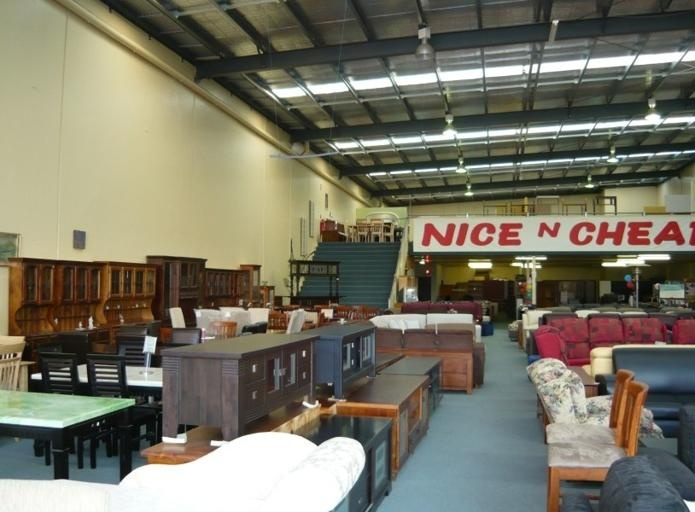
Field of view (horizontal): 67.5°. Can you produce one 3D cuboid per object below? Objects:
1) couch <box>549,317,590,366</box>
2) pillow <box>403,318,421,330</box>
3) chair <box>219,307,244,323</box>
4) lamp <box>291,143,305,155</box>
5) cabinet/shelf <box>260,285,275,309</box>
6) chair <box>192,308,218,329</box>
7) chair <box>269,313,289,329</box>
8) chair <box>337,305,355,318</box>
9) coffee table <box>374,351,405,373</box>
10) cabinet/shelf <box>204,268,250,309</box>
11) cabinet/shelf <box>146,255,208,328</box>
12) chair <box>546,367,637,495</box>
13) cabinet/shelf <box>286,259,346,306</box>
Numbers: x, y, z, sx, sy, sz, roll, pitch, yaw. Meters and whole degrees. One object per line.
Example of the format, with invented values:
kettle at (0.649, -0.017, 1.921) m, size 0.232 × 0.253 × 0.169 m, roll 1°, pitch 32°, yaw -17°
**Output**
couch at (4.066, 1.527, 9.510) m, size 0.967 × 0.890 × 0.756 m, roll 0°, pitch -3°, yaw 2°
pillow at (1.300, 1.330, 10.460) m, size 0.249 × 0.070 × 0.255 m, roll 19°, pitch 19°, yaw 14°
chair at (-2.214, 1.029, 10.081) m, size 0.299 × 0.300 × 0.510 m, roll -4°, pitch -3°, yaw 25°
lamp at (-1.738, -3.805, 18.222) m, size 0.205 × 0.432 × 0.662 m, roll 14°, pitch 7°, yaw 24°
cabinet/shelf at (-2.382, 1.166, 15.319) m, size 0.298 × 0.647 × 0.743 m, roll -2°, pitch -2°, yaw 14°
chair at (-2.622, 1.118, 9.857) m, size 0.462 × 0.449 × 0.438 m, roll -1°, pitch 0°, yaw 21°
chair at (-1.235, 1.159, 9.505) m, size 0.301 × 0.423 × 0.325 m, roll 1°, pitch -5°, yaw 3°
chair at (-0.062, 1.325, 12.634) m, size 0.452 × 0.291 × 0.258 m, roll 3°, pitch 5°, yaw 43°
coffee table at (0.571, 1.440, 7.139) m, size 0.244 × 0.108 × 0.515 m, roll 0°, pitch 2°, yaw 15°
cabinet/shelf at (-3.027, 0.738, 13.297) m, size 0.376 × 0.995 × 2.213 m, roll 14°, pitch 7°, yaw 16°
cabinet/shelf at (-3.672, 0.733, 11.024) m, size 0.570 × 1.437 × 1.668 m, roll -3°, pitch -4°, yaw 18°
chair at (2.199, 1.595, 4.747) m, size 0.827 × 0.945 × 1.358 m, roll 0°, pitch -3°, yaw 19°
cabinet/shelf at (-1.061, 0.876, 17.267) m, size 1.635 × 1.402 × 0.694 m, roll 2°, pitch 12°, yaw 10°
